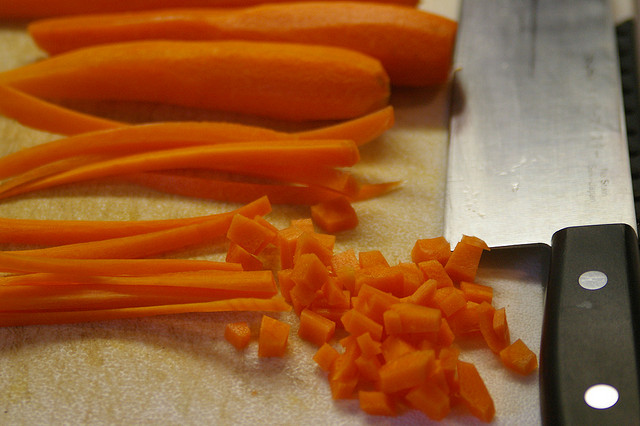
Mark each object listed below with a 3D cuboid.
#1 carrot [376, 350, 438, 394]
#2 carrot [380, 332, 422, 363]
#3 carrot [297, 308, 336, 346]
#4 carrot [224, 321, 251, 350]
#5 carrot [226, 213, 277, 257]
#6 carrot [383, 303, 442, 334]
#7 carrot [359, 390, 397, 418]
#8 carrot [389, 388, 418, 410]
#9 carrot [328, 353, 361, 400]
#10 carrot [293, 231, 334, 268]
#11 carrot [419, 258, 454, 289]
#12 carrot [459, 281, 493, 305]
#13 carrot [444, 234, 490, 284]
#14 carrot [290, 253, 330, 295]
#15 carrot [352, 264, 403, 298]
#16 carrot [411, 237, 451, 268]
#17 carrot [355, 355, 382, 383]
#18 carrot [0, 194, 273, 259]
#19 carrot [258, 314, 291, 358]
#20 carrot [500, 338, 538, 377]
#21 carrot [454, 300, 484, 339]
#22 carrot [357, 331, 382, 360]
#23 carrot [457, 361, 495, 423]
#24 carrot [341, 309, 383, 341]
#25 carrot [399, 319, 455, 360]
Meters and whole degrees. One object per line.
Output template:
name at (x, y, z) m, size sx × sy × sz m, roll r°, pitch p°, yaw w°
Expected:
carrot at (0.175, 0.312, 1.263) m, size 0.098 × 0.095 × 0.044 m, roll -21°, pitch 109°, yaw 11°
carrot at (0.163, 0.267, 1.331) m, size 0.068 × 0.068 × 0.049 m, roll -16°, pitch 97°, yaw -32°
carrot at (-0.011, 0.245, 1.368) m, size 0.074 × 0.061 × 0.058 m, roll 28°, pitch 86°, yaw 4°
carrot at (-0.174, 0.256, 1.388) m, size 0.063 × 0.062 × 0.027 m, roll 18°, pitch 112°, yaw -8°
carrot at (-0.150, 0.038, 1.440) m, size 0.119 × 0.029 × 0.084 m, roll 25°, pitch 99°, yaw -13°
carrot at (0.191, 0.208, 1.283) m, size 0.099 × 0.040 × 0.054 m, roll 2°, pitch 74°, yaw 1°
carrot at (0.117, 0.383, 1.289) m, size 0.093 × 0.052 × 0.067 m, roll -3°, pitch 66°, yaw 2°
carrot at (0.168, 0.370, 1.286) m, size 0.052 × 0.014 × 0.050 m, roll -5°, pitch 93°, yaw -2°
carrot at (0.054, 0.334, 1.316) m, size 0.061 × 0.024 × 0.083 m, roll -5°, pitch 83°, yaw 36°
carrot at (-0.011, 0.074, 1.448) m, size 0.076 × 0.074 × 0.074 m, roll 23°, pitch 105°, yaw -3°
carrot at (0.259, 0.134, 1.408) m, size 0.065 × 0.016 × 0.059 m, roll -17°, pitch 76°, yaw -13°
carrot at (0.343, 0.171, 1.400) m, size 0.061 × 0.028 × 0.043 m, roll 8°, pitch 36°, yaw 1°
carrot at (0.337, 0.106, 1.441) m, size 0.087 × 0.072 × 0.109 m, roll 18°, pitch 79°, yaw 29°
carrot at (-0.002, 0.122, 1.400) m, size 0.077 × 0.077 × 0.078 m, roll 37°, pitch 77°, yaw -24°
carrot at (0.121, 0.151, 1.425) m, size 0.138 × 0.073 × 0.087 m, roll 3°, pitch 81°, yaw -26°
carrot at (0.260, 0.081, 1.456) m, size 0.097 × 0.028 × 0.089 m, roll 7°, pitch 25°, yaw 13°
carrot at (0.100, 0.316, 1.306) m, size 0.054 × 0.035 × 0.064 m, roll -10°, pitch 85°, yaw -6°
carrot at (-0.411, 0.036, 1.515) m, size 0.358 × 0.048 × 0.056 m, roll -15°, pitch 114°, yaw -7°
carrot at (-0.094, 0.261, 1.351) m, size 0.080 × 0.080 × 0.079 m, roll 19°, pitch 73°, yaw -12°
carrot at (0.408, 0.296, 1.321) m, size 0.063 × 0.026 × 0.072 m, roll -43°, pitch 77°, yaw 6°
carrot at (0.317, 0.226, 1.368) m, size 0.086 × 0.023 × 0.084 m, roll 0°, pitch 94°, yaw 9°
carrot at (0.099, 0.269, 1.298) m, size 0.052 × 0.051 × 0.049 m, roll 5°, pitch 89°, yaw -5°
carrot at (0.308, 0.358, 1.289) m, size 0.060 × 0.032 × 0.119 m, roll -24°, pitch 74°, yaw -5°
carrot at (0.092, 0.218, 1.336) m, size 0.092 × 0.048 × 0.040 m, roll -3°, pitch 108°, yaw 13°
carrot at (0.228, 0.246, 1.337) m, size 0.113 × 0.108 × 0.027 m, roll -8°, pitch 58°, yaw 20°
